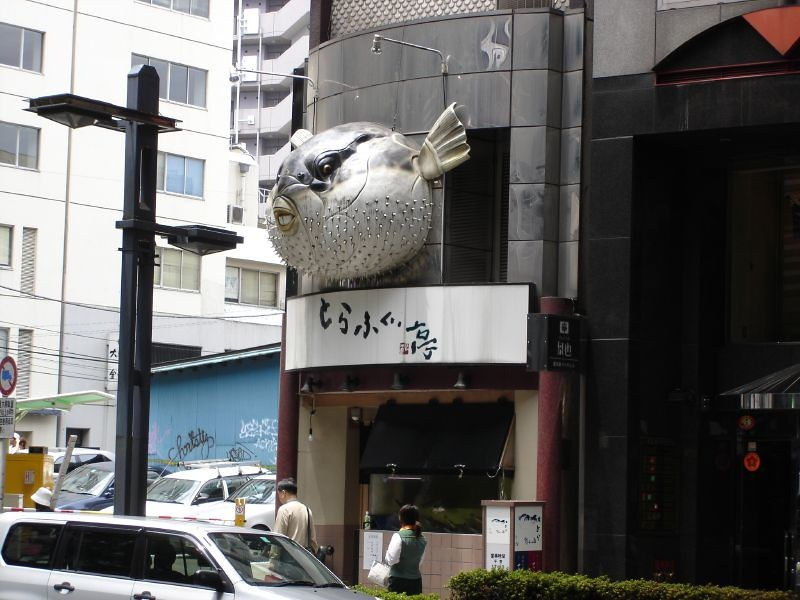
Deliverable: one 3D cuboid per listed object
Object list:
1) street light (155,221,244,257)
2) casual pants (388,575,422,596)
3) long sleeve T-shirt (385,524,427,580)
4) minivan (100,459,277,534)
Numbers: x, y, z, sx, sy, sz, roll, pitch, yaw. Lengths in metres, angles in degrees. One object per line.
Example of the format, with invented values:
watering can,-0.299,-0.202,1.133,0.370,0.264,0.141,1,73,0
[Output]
street light,-3.333,-1.073,25.841,1.306,0.556,1.395,0,-10,0
casual pants,0.107,4.504,24.179,0.327,0.265,0.331,3,-1,-31
long sleeve T-shirt,0.119,4.015,24.200,0.613,0.773,0.386,1,-9,-7
minivan,-3.981,4.235,33.219,2.819,1.314,1.543,8,-11,-36
